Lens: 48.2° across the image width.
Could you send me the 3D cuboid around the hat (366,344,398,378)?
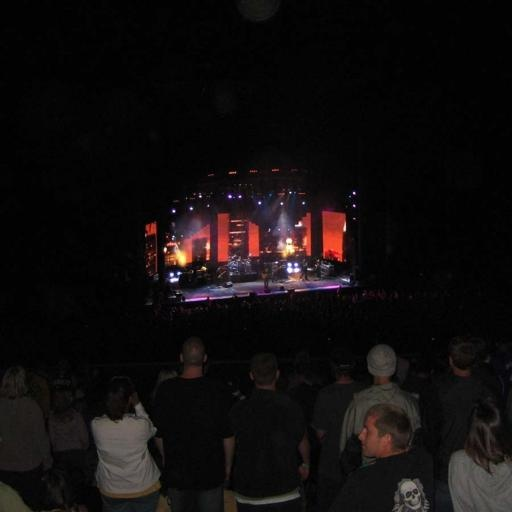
[{"bbox_3d":[1.115,0.894,4.984,0.212,0.105,0.332,-1,45,20],"label":"hat"}]
